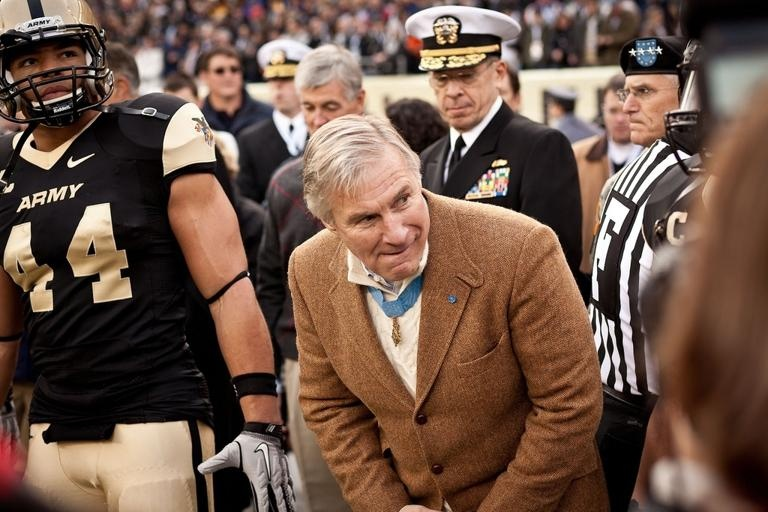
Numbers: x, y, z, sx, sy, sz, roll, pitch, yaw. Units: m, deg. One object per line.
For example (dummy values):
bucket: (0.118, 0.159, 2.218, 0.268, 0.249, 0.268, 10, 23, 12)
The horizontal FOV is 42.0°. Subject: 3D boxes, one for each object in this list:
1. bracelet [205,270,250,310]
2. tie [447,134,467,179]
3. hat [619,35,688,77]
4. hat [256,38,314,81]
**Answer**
bracelet: (-0.630, 0.125, 4.079, 0.149, 0.059, 0.134, -35, 12, -9)
tie: (0.385, -0.540, 5.317, 0.052, 0.087, 0.348, 20, 56, -1)
hat: (1.343, -1.000, 5.021, 0.353, 0.152, 0.448, 4, 11, 28)
hat: (-0.888, -1.565, 8.001, 0.530, 0.318, 0.613, -6, 12, -13)
